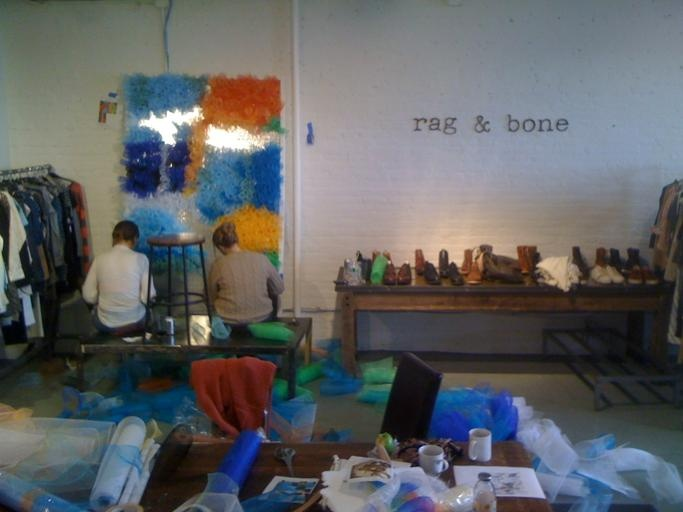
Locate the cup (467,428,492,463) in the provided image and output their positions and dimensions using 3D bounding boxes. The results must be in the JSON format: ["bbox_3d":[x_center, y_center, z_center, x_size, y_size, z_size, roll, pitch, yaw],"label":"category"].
[{"bbox_3d":[0.702,1.006,2.830,0.107,0.130,0.178,-1,3,38],"label":"cup"}]

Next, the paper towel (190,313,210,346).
[{"bbox_3d":[-1.322,0.695,5.074,0.133,0.071,0.406,-3,15,-16],"label":"paper towel"}]

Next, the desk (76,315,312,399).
[{"bbox_3d":[-1.306,0.910,5.209,1.956,0.645,0.932,1,15,2],"label":"desk"}]

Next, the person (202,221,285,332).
[{"bbox_3d":[-0.919,0.237,5.525,1.008,1.276,0.850,-1,19,-2],"label":"person"}]

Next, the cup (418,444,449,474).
[{"bbox_3d":[0.470,1.028,2.756,0.097,0.110,0.154,0,6,-3],"label":"cup"}]
